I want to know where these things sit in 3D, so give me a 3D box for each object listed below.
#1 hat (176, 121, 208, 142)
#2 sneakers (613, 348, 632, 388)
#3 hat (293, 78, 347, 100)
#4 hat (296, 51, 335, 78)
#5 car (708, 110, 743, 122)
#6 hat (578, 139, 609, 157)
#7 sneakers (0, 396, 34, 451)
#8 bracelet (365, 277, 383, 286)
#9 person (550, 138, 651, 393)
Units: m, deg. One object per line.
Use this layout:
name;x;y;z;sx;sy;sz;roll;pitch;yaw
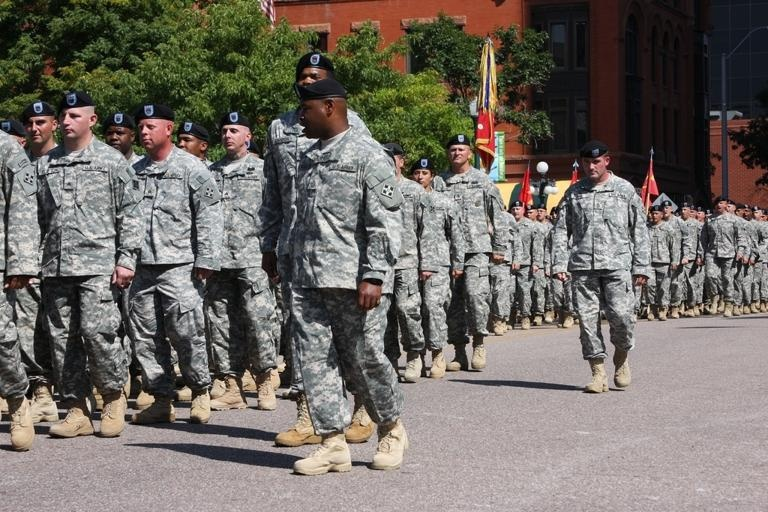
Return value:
hat;-2.164;-1.447;13.076;0.252;0.106;0.304;8;-4;36
sneakers;2.869;1.358;13.709;0.189;0.479;0.256;-1;6;11
hat;-0.538;-1.416;9.648;0.336;0.100;0.216;-3;3;-3
hat;-0.665;-1.840;10.813;0.350;0.249;0.381;-2;6;-4
car;24.453;-10.166;80.849;1.828;0.788;9.547;0;6;18
hat;2.576;-1.326;13.864;0.244;0.110;0.314;1;3;29
sneakers;-3.362;1.528;10.468;0.220;0.529;0.225;-13;-35;-4
bracelet;-0.080;0.209;9.458;0.095;0.055;0.085;1;4;4
person;2.615;0.098;13.778;1.113;2.986;0.984;0;6;22
